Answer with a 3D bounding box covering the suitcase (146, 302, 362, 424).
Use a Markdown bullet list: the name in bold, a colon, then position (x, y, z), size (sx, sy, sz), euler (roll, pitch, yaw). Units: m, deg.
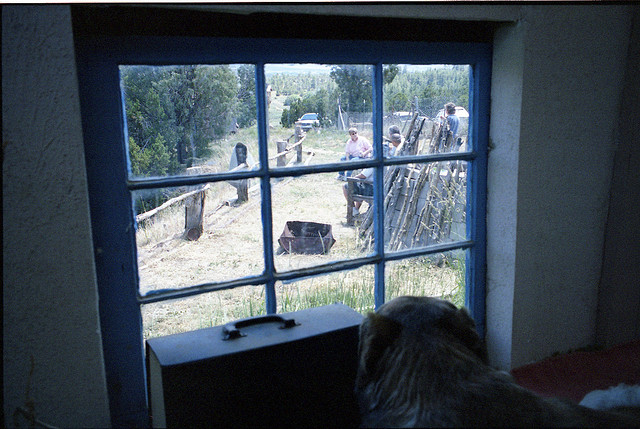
- **suitcase**: position (-0.188, 0.448, 1.543), size (0.386, 0.368, 0.132), euler (-5, 11, -23)
